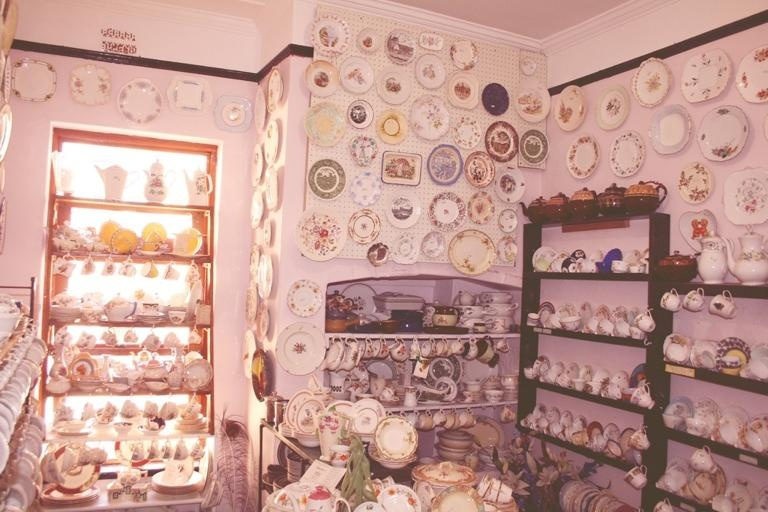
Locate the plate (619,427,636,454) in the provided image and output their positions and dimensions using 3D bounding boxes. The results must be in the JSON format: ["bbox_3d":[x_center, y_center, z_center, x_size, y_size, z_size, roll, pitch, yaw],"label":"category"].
[{"bbox_3d":[1.850,1.387,4.064,0.051,0.191,0.126,9,-14,-32],"label":"plate"}]

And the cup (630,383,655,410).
[{"bbox_3d":[1.822,0.988,3.782,0.151,0.161,0.081,1,-16,31],"label":"cup"}]

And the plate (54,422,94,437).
[{"bbox_3d":[-2.542,1.388,4.371,0.299,0.100,0.106,2,1,2],"label":"plate"}]

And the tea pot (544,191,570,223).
[{"bbox_3d":[1.438,-0.392,4.404,0.207,0.240,0.195,1,-1,0],"label":"tea pot"}]

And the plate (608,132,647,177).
[{"bbox_3d":[1.957,-0.804,4.297,0.050,0.349,0.288,1,1,-30],"label":"plate"}]

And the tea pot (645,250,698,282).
[{"bbox_3d":[2.024,0.052,3.706,0.208,0.155,0.213,-1,6,0],"label":"tea pot"}]

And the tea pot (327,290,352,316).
[{"bbox_3d":[-0.381,0.390,4.515,0.134,0.079,0.195,9,10,-14],"label":"tea pot"}]

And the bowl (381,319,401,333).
[{"bbox_3d":[0.068,0.580,4.417,0.101,0.076,0.107,0,-10,0],"label":"bowl"}]

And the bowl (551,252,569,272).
[{"bbox_3d":[1.454,0.066,4.403,0.127,0.153,0.114,8,-5,26],"label":"bowl"}]

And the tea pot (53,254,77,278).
[{"bbox_3d":[-2.658,0.104,4.516,0.180,0.168,0.064,29,-8,-17],"label":"tea pot"}]

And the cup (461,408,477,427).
[{"bbox_3d":[0.750,1.413,4.737,0.157,0.137,0.125,4,-1,-28],"label":"cup"}]

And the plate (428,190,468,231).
[{"bbox_3d":[0.598,-0.372,4.504,0.295,0.320,0.083,0,3,-20],"label":"plate"}]

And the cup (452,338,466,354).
[{"bbox_3d":[0.638,0.763,4.541,0.131,0.142,0.091,-4,-12,0],"label":"cup"}]

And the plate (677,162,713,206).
[{"bbox_3d":[2.261,-0.512,3.877,0.060,0.271,0.220,2,4,-39],"label":"plate"}]

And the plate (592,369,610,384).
[{"bbox_3d":[1.717,0.955,4.243,0.088,0.127,0.112,4,-34,-1],"label":"plate"}]

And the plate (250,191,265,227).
[{"bbox_3d":[-1.111,-0.402,4.765,0.056,0.373,0.308,4,-4,-31],"label":"plate"}]

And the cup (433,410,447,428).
[{"bbox_3d":[0.475,1.367,4.527,0.100,0.139,0.096,6,4,0],"label":"cup"}]

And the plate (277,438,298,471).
[{"bbox_3d":[-0.776,1.538,4.186,0.188,0.220,0.208,5,19,-4],"label":"plate"}]

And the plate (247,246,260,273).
[{"bbox_3d":[-1.152,0.034,4.827,0.063,0.251,0.422,1,2,-20],"label":"plate"}]

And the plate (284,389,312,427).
[{"bbox_3d":[-0.645,1.120,3.989,0.052,0.226,0.216,4,-5,15],"label":"plate"}]

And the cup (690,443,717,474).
[{"bbox_3d":[2.109,1.334,3.573,0.185,0.169,0.157,-1,-8,14],"label":"cup"}]

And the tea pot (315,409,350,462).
[{"bbox_3d":[-0.304,1.069,3.288,0.170,0.324,0.497,2,2,-8],"label":"tea pot"}]

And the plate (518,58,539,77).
[{"bbox_3d":[1.333,-1.695,4.888,0.198,0.124,0.063,1,1,-25],"label":"plate"}]

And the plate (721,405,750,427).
[{"bbox_3d":[2.341,1.049,3.569,0.114,0.131,0.128,7,18,-8],"label":"plate"}]

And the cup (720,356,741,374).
[{"bbox_3d":[2.243,0.700,3.481,0.097,0.112,0.101,4,-2,0],"label":"cup"}]

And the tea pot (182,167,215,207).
[{"bbox_3d":[-1.660,-0.600,4.831,0.320,0.370,0.219,4,-3,-21],"label":"tea pot"}]

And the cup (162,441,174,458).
[{"bbox_3d":[-1.862,1.662,4.604,0.094,0.125,0.119,3,-13,-7],"label":"cup"}]

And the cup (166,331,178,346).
[{"bbox_3d":[-1.847,0.732,4.705,0.099,0.116,0.093,2,1,0],"label":"cup"}]

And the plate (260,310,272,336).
[{"bbox_3d":[-0.971,0.563,4.408,0.045,0.181,0.169,2,-1,-31],"label":"plate"}]

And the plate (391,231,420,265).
[{"bbox_3d":[0.192,-0.063,4.493,0.232,0.256,0.057,2,6,-24],"label":"plate"}]

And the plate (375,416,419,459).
[{"bbox_3d":[0.085,1.228,3.633,0.264,0.287,0.100,-2,-2,-13],"label":"plate"}]

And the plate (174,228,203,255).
[{"bbox_3d":[-1.746,-0.102,4.833,0.230,0.208,0.202,8,-11,-32],"label":"plate"}]

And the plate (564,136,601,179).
[{"bbox_3d":[1.719,-0.834,4.611,0.052,0.312,0.293,7,-22,-29],"label":"plate"}]

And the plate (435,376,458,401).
[{"bbox_3d":[0.561,1.141,4.629,0.168,0.182,0.066,-5,-7,28],"label":"plate"}]

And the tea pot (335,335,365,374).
[{"bbox_3d":[-0.261,0.776,4.268,0.106,0.213,0.248,4,-34,-14],"label":"tea pot"}]

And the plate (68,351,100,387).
[{"bbox_3d":[-2.562,0.966,4.578,0.202,0.302,0.069,1,-16,-16],"label":"plate"}]

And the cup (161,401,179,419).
[{"bbox_3d":[-1.829,1.323,4.597,0.146,0.159,0.072,1,1,-25],"label":"cup"}]

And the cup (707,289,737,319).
[{"bbox_3d":[2.264,0.322,3.574,0.145,0.195,0.146,2,1,0],"label":"cup"}]

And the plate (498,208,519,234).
[{"bbox_3d":[1.110,-0.308,4.785,0.195,0.208,0.047,23,-4,-23],"label":"plate"}]

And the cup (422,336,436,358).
[{"bbox_3d":[0.370,0.765,4.490,0.114,0.108,0.072,1,1,-14],"label":"cup"}]

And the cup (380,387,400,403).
[{"bbox_3d":[0.047,1.141,4.504,0.130,0.153,0.113,-8,-12,-4],"label":"cup"}]

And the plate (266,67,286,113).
[{"bbox_3d":[-0.920,-1.380,4.552,0.069,0.351,0.468,1,2,-23],"label":"plate"}]

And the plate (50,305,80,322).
[{"bbox_3d":[-2.641,0.482,4.429,0.150,0.093,0.156,3,-4,7],"label":"plate"}]

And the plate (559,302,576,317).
[{"bbox_3d":[1.550,0.442,4.521,0.097,0.139,0.122,-24,32,-38],"label":"plate"}]

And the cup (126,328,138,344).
[{"bbox_3d":[-2.189,0.696,4.662,0.111,0.119,0.062,11,-4,-21],"label":"cup"}]

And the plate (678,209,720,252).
[{"bbox_3d":[2.247,-0.174,3.801,0.233,0.280,0.055,-2,4,40],"label":"plate"}]

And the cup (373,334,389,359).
[{"bbox_3d":[-0.020,0.733,4.360,0.064,0.162,0.127,-2,26,-10],"label":"cup"}]

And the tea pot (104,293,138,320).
[{"bbox_3d":[-2.244,0.433,4.585,0.221,0.161,0.185,6,-5,-36],"label":"tea pot"}]

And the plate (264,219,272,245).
[{"bbox_3d":[-0.959,-0.189,4.488,0.032,0.167,0.161,1,18,-32],"label":"plate"}]

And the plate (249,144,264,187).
[{"bbox_3d":[-1.141,-0.782,4.832,0.060,0.311,0.304,1,-39,-27],"label":"plate"}]

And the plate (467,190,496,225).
[{"bbox_3d":[0.857,-0.413,4.702,0.252,0.220,0.066,1,1,-25],"label":"plate"}]

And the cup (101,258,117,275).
[{"bbox_3d":[-2.390,0.095,4.669,0.108,0.158,0.159,1,2,-26],"label":"cup"}]

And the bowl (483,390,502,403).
[{"bbox_3d":[0.970,1.219,4.700,0.106,0.074,0.108,8,-13,2],"label":"bowl"}]

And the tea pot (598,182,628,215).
[{"bbox_3d":[1.744,-0.423,4.071,0.209,0.239,0.208,3,-1,0],"label":"tea pot"}]

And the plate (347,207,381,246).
[{"bbox_3d":[-0.157,-0.225,4.385,0.266,0.288,0.053,1,1,-24],"label":"plate"}]

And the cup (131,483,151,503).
[{"bbox_3d":[-1.991,1.932,4.390,0.112,0.119,0.124,-1,-19,15],"label":"cup"}]

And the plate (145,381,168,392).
[{"bbox_3d":[-1.937,1.093,4.586,0.109,0.047,0.114,-2,-10,10],"label":"plate"}]
